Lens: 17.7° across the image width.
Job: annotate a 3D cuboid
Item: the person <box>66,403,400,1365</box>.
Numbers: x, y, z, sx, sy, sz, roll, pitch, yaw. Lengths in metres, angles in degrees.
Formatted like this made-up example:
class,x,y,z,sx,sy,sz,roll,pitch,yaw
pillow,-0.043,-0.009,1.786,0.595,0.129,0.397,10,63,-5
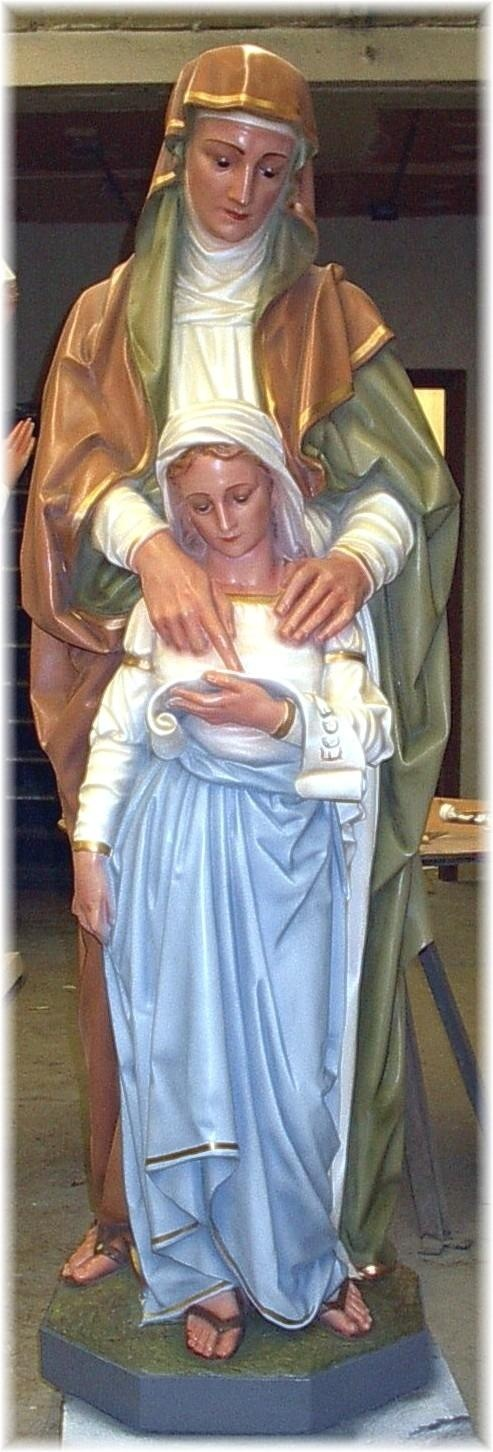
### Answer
class,x,y,z,sx,sy,sz,roll,pitch,yaw
person,-0.026,0.441,2.830,0.560,1.356,0.285,-1,3,-7
